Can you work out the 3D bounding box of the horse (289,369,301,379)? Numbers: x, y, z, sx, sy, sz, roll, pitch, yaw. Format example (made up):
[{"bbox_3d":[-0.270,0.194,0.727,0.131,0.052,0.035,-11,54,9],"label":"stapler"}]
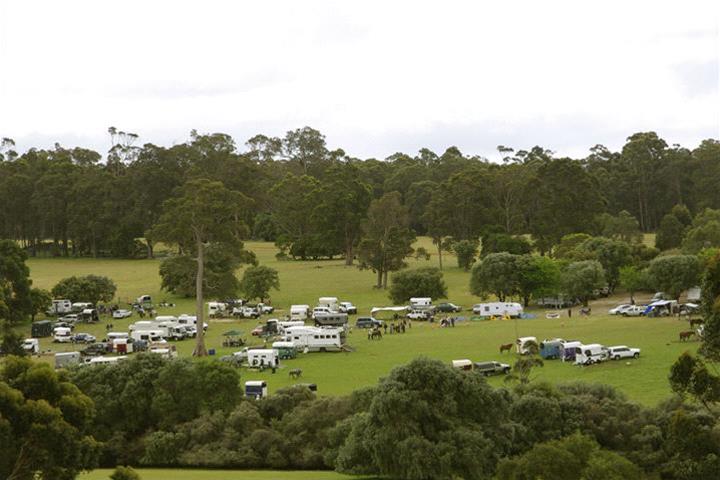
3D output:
[{"bbox_3d":[-7.500,15.447,123.566,1.393,0.889,1.800,-2,1,14],"label":"horse"}]
